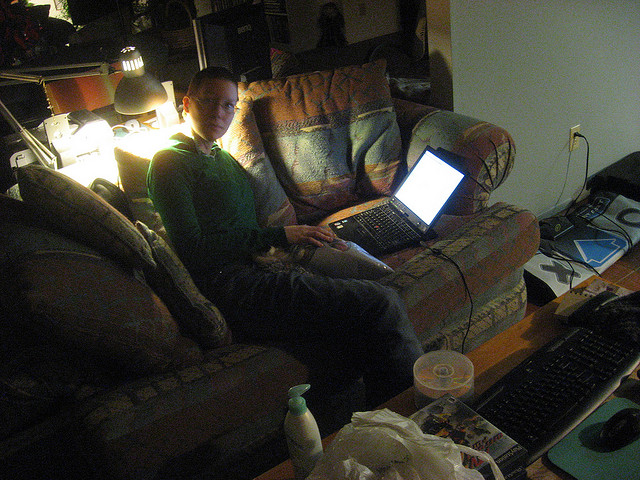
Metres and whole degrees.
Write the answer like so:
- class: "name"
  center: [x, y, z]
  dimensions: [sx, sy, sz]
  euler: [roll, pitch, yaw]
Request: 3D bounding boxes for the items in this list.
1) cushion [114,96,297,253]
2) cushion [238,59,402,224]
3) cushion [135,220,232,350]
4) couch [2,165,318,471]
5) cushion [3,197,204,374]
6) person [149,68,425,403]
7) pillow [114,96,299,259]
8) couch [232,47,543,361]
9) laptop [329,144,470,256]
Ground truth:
- class: "cushion"
  center: [-0.578, -0.226, 2.346]
  dimensions: [0.775, 0.700, 0.343]
  euler: [-28, 16, -28]
- class: "cushion"
  center: [0.035, -0.491, 2.310]
  dimensions: [0.829, 0.766, 0.238]
  euler: [-18, 22, -13]
- class: "cushion"
  center: [-0.437, 0.178, 1.624]
  dimensions: [0.148, 0.386, 0.395]
  euler: [-35, 24, -12]
- class: "couch"
  center: [-0.550, 0.241, 1.429]
  dimensions: [0.799, 0.740, 0.614]
  euler: [19, 40, 25]
- class: "cushion"
  center: [-0.648, 0.163, 1.346]
  dimensions: [0.154, 0.517, 0.490]
  euler: [-41, 65, 1]
- class: "person"
  center: [-0.118, 0.055, 2.008]
  dimensions: [1.042, 1.545, 0.640]
  euler: [-9, 6, 18]
- class: "pillow"
  center: [-0.578, -0.206, 2.341]
  dimensions: [0.803, 0.723, 0.366]
  euler: [-28, 16, -28]
- class: "couch"
  center: [0.209, -0.142, 2.304]
  dimensions: [1.364, 1.040, 1.257]
  euler: [-29, 41, -32]
- class: "laptop"
  center: [0.318, -0.178, 2.151]
  dimensions: [0.542, 0.291, 0.376]
  euler: [-13, 34, -13]
